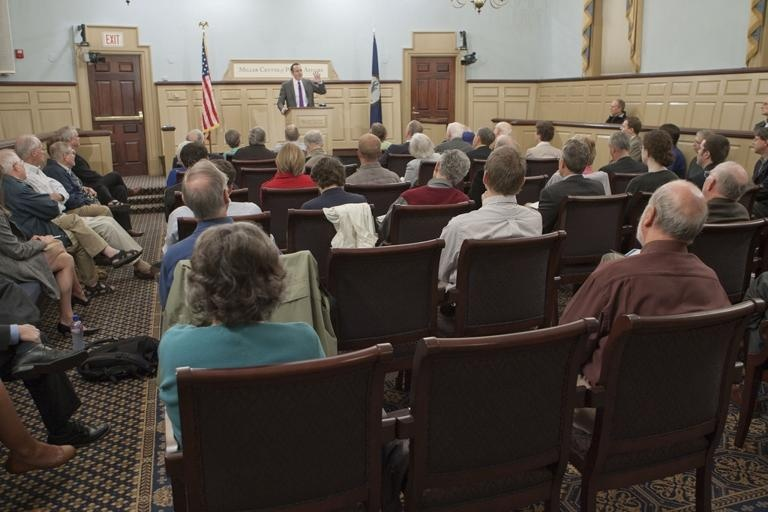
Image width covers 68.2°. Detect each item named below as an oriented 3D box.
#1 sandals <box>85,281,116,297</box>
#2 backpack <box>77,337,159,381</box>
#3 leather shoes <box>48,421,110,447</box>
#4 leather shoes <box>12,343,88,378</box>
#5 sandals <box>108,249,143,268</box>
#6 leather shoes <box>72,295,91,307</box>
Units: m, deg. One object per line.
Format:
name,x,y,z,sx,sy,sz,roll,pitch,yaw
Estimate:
sandals,-2.641,0.305,5.303,0.214,0.093,0.093,-13,21,-36
backpack,-1.832,0.733,3.953,0.351,0.147,0.341,-3,7,9
leather shoes,-1.767,1.034,3.325,0.327,0.135,0.115,-3,10,-26
leather shoes,-1.856,0.571,3.176,0.409,0.175,0.188,-6,16,-14
sandals,-2.449,0.009,5.433,0.304,0.137,0.115,-26,17,-19
leather shoes,-2.646,0.385,4.972,0.208,0.073,0.084,8,0,41
